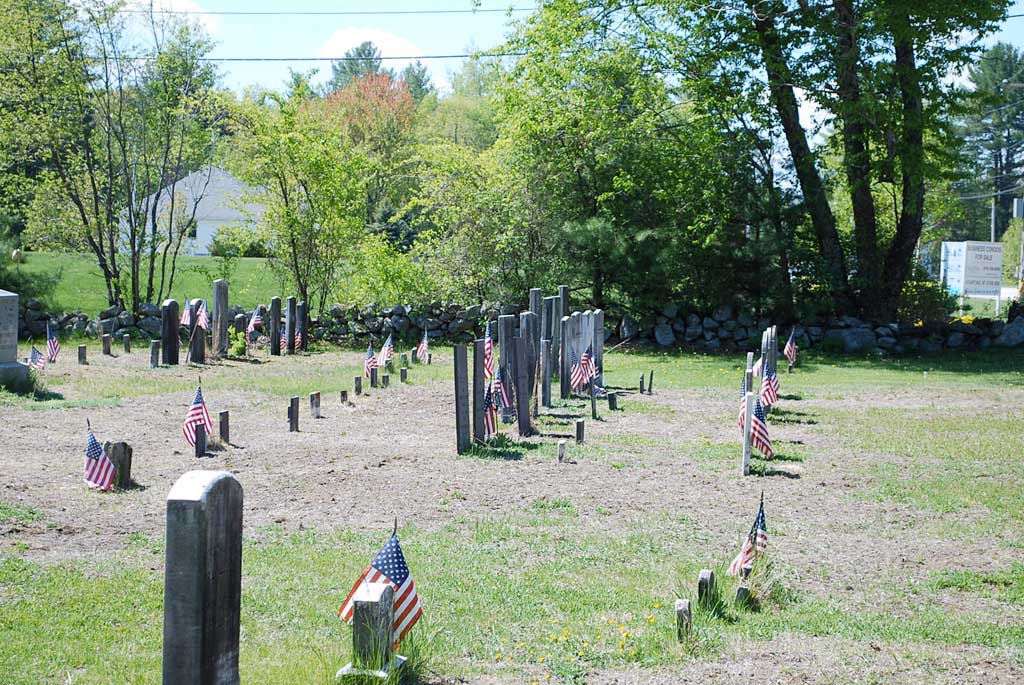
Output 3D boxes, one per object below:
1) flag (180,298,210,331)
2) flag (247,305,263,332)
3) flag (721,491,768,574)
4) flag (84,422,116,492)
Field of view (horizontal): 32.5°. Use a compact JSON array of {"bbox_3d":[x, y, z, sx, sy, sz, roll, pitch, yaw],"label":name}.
[{"bbox_3d":[-11.487,-1.004,63.431,0.867,1.090,2.518,2,3,-15],"label":"flag"},{"bbox_3d":[-9.743,-0.943,66.397,0.583,0.973,1.326,2,3,-8],"label":"flag"},{"bbox_3d":[6.279,5.178,47.001,0.903,2.095,1.018,3,3,11],"label":"flag"},{"bbox_3d":[-11.660,3.287,49.475,0.735,1.696,0.806,1,3,-20],"label":"flag"}]
